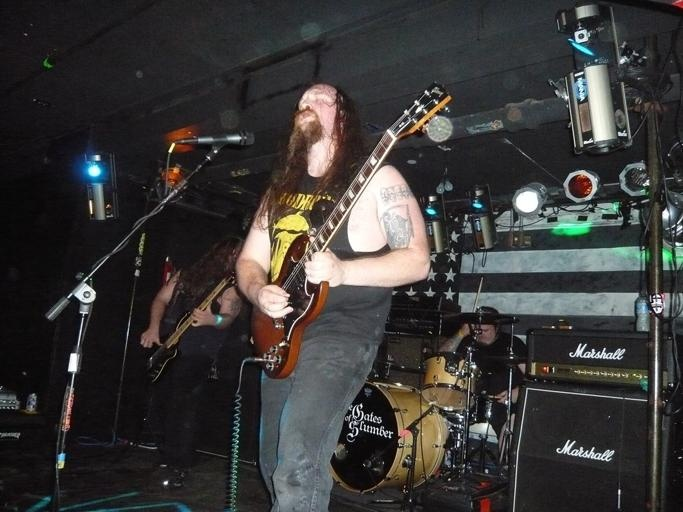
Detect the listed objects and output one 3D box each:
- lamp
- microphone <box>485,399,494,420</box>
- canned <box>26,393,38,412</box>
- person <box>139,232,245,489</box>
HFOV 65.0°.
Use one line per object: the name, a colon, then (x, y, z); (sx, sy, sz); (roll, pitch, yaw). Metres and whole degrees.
lamp: (3.797, -0.848, 8.337); (1.477, 0.522, 1.398); (-3, -11, 16)
microphone: (2.065, 2.181, 7.541); (0.075, 0.285, 0.272); (-1, -13, 12)
canned: (-5.106, 2.440, 8.892); (0.156, 0.281, 0.067); (3, -7, -3)
person: (-1.751, 1.145, 6.078); (1.196, 2.714, 0.638); (-6, -15, 30)
